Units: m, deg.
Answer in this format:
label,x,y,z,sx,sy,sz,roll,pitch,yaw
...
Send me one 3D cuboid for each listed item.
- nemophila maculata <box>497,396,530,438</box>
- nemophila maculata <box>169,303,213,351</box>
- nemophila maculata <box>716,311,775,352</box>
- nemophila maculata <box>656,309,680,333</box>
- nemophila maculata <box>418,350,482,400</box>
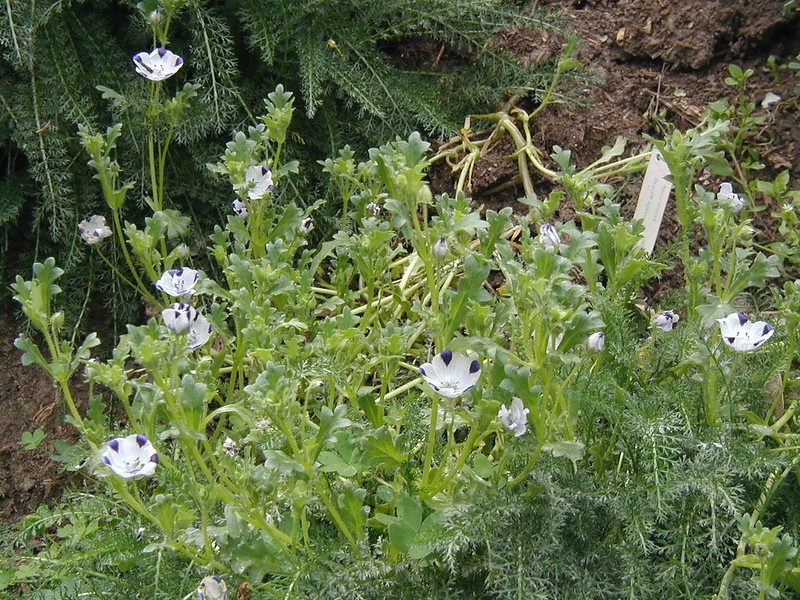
label,x,y,z,sx,sy,sz,roll,pitch,yaw
nemophila maculata,0.318,0.334,2.393,0.089,0.116,0.049,6,-4,-38
nemophila maculata,-0.590,0.062,2.341,0.076,0.133,0.132,-24,42,-11
nemophila maculata,1.005,0.100,2.466,0.147,0.084,0.129,-3,41,3
nemophila maculata,0.887,0.056,2.783,0.064,0.044,0.077,16,74,27
nemophila maculata,0.151,0.212,2.293,0.128,0.076,0.134,-32,60,-19
